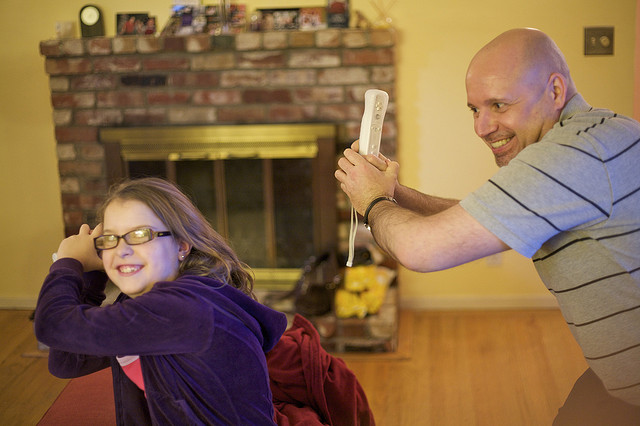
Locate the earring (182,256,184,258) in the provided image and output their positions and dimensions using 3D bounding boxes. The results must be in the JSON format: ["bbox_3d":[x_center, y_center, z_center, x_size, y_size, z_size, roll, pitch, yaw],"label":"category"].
[{"bbox_3d":[-0.462,0.148,2.003,0.007,0.007,0.002,0,-2,-4],"label":"earring"}]

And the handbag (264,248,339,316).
[{"bbox_3d":[-0.117,0.429,3.665,0.467,0.335,0.336,-3,9,1],"label":"handbag"}]

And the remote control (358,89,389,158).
[{"bbox_3d":[0.179,-0.309,2.035,0.115,0.219,0.122,9,16,20],"label":"remote control"}]

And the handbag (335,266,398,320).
[{"bbox_3d":[0.303,0.475,3.612,0.353,0.156,0.488,-9,19,44],"label":"handbag"}]

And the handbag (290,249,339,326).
[{"bbox_3d":[-0.024,0.459,3.548,0.203,0.292,0.385,22,8,1],"label":"handbag"}]
